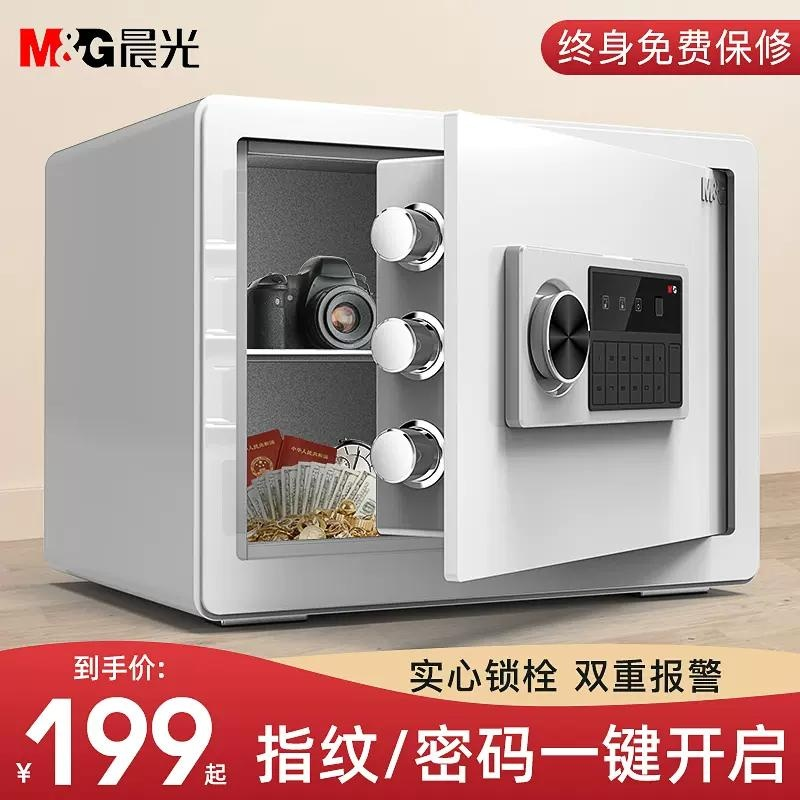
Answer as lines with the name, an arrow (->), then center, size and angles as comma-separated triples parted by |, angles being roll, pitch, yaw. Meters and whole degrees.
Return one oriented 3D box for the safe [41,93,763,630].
safe -> -0.004, -0.064, 0.939 | 0.624, 0.452, 0.674 | -6, 10, -37
